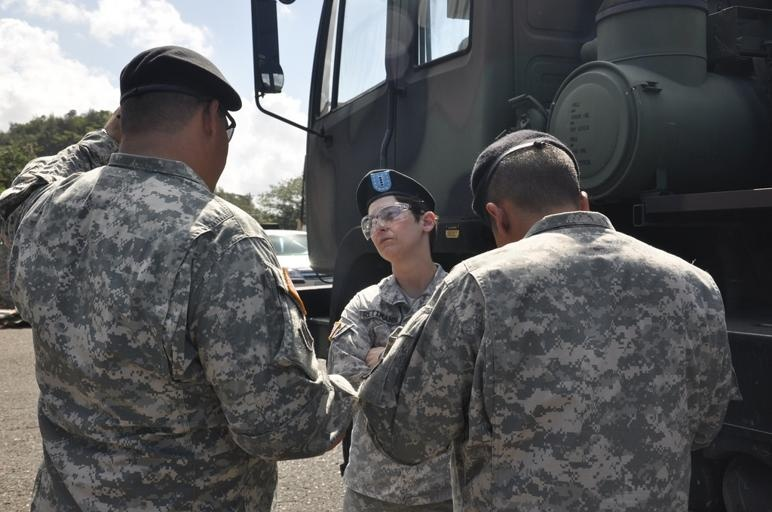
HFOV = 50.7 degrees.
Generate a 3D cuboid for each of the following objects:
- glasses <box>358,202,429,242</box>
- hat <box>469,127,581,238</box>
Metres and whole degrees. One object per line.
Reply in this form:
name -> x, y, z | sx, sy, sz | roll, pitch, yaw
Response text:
glasses -> 0.051, -0.198, 4.006 | 0.211, 0.068, 0.205 | -9, -16, -47
hat -> 0.492, -0.278, 3.134 | 0.363, 0.456, 0.412 | -8, 5, 1
